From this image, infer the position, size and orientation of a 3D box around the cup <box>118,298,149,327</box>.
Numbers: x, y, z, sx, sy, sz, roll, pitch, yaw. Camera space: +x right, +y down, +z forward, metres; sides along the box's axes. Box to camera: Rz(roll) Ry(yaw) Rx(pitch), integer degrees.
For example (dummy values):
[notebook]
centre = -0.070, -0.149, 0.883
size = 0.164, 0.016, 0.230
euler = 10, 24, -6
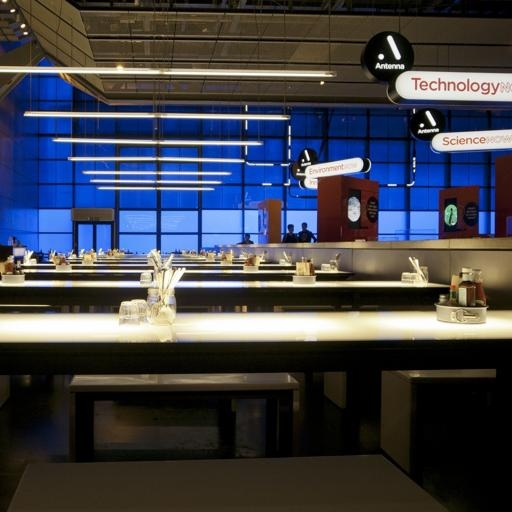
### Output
[cup]
centre = -0.472, 0.215, 2.196
size = 0.082, 0.087, 0.095
euler = 1, 0, -5

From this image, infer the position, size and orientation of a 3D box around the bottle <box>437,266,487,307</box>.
[bottle]
centre = 0.859, 0.131, 2.348
size = 0.190, 0.216, 0.125
euler = -1, -1, -4
